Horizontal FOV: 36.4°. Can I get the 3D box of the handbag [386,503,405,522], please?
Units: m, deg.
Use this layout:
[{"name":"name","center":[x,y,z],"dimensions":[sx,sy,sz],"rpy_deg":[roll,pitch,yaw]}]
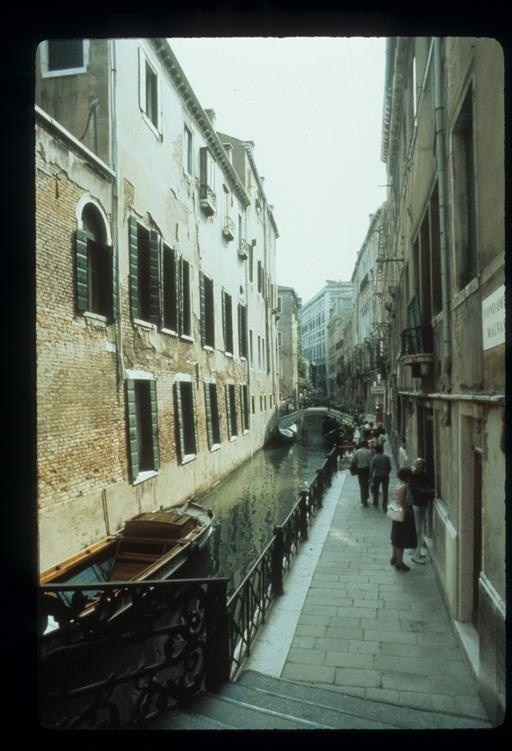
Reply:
[{"name":"handbag","center":[1.724,1.703,9.637],"dimensions":[0.214,0.239,0.272],"rpy_deg":[-5,-2,10]}]
